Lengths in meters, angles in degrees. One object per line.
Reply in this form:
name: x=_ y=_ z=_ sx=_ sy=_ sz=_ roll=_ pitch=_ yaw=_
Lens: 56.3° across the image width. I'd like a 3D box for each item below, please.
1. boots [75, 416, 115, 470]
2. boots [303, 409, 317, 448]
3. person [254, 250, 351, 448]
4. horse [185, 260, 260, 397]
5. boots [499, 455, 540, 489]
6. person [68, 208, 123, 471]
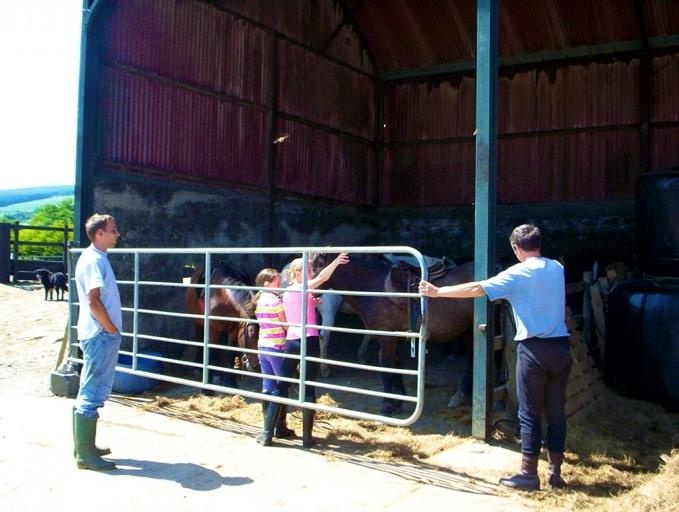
boots: x=-2.056 y=1.539 z=5.331 sx=0.346 sy=0.464 sz=0.224 roll=0 pitch=5 yaw=-13
boots: x=-0.281 y=1.565 z=5.863 sx=0.150 sy=0.361 sz=0.163 roll=-2 pitch=5 yaw=-34
person: x=-0.358 y=0.853 z=5.917 sx=0.727 sy=1.758 sz=0.549 roll=2 pitch=5 yaw=20
horse: x=-1.471 y=0.567 z=7.569 sx=0.349 sy=0.891 sz=1.454 roll=9 pitch=-20 yaw=17
boots: x=1.474 y=1.796 z=5.309 sx=0.375 sy=0.374 sz=0.167 roll=2 pitch=-7 yaw=8
person: x=-2.065 y=0.716 z=5.400 sx=0.411 sy=2.081 sz=0.518 roll=-1 pitch=5 yaw=-25
